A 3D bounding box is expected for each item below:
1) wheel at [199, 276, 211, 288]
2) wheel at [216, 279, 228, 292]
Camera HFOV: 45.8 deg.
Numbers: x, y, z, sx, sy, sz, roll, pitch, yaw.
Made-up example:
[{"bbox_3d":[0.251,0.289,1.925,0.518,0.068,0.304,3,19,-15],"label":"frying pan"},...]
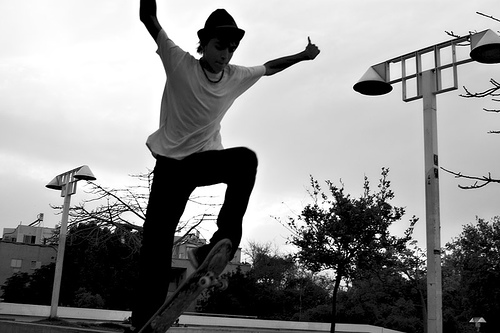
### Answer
[{"bbox_3d":[-1.096,2.790,14.338,0.300,0.260,0.157,10,-17,-7],"label":"wheel"},{"bbox_3d":[-0.682,2.890,14.511,0.236,0.261,0.419,7,-17,3],"label":"wheel"}]
